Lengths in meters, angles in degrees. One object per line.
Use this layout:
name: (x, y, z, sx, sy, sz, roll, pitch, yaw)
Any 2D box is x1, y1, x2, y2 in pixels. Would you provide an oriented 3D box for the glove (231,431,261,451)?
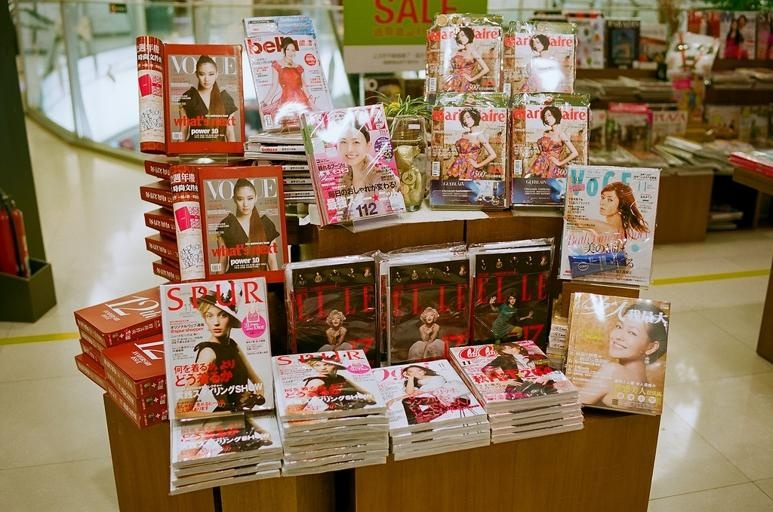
glove: (-0.650, 0.870, 2.904, 0.131, 0.036, 0.090, -9, 19, -17)
